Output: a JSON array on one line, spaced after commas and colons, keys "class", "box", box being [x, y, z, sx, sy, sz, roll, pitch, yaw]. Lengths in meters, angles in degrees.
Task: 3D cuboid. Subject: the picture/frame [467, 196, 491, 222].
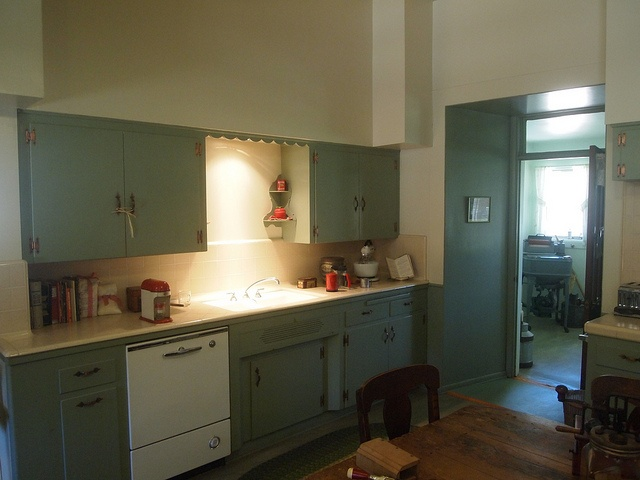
[{"class": "picture/frame", "box": [1.694, -0.324, 5.771, 0.363, 0.275, 0.030, -6, 6, -31]}]

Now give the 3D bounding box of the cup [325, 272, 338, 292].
[{"class": "cup", "box": [0.116, 0.401, 5.216, 0.135, 0.211, 0.122, 5, 10, 27]}]

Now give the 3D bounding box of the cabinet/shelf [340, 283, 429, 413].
[{"class": "cabinet/shelf", "box": [0.530, 0.928, 4.808, 0.441, 1.049, 1.140, -2, -1, 45]}]
